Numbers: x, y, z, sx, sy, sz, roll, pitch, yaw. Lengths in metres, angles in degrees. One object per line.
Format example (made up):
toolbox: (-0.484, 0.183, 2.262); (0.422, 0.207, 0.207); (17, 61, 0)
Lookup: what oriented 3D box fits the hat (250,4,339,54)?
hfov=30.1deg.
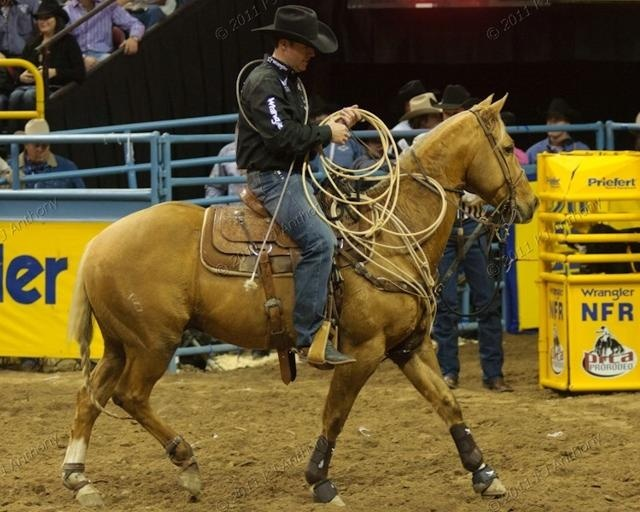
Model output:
hat: (-0.208, -1.733, 8.963); (0.617, 0.198, 0.392); (18, 20, 7)

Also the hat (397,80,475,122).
hat: (1.135, -1.566, 11.752); (0.489, 0.160, 0.555); (-19, 8, -42)

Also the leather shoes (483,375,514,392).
leather shoes: (1.667, 1.221, 11.342); (0.285, 0.091, 0.116); (-2, -1, 39)

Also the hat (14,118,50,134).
hat: (-2.983, -1.367, 12.463); (0.257, 0.172, 0.165); (-3, 4, -22)

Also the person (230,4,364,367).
person: (-0.203, -0.534, 8.941); (0.854, 2.696, 0.575); (-2, 4, 11)

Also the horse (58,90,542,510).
horse: (-0.145, 0.489, 9.875); (5.363, 3.216, 1.455); (0, 0, -7)

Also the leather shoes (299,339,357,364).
leather shoes: (0.089, 0.730, 8.838); (0.520, 0.150, 0.149); (1, -1, 7)
